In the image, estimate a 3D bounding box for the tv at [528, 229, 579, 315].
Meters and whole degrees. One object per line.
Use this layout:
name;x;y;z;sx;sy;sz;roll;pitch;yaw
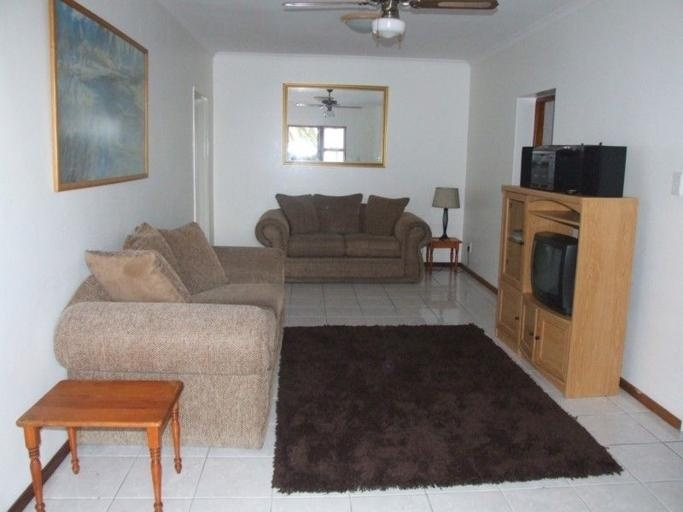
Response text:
tv;1.717;0.157;4.084;0.304;0.563;0.574;-1;6;-2

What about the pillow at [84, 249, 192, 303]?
pillow;-1.256;0.133;3.141;0.402;0.209;0.422;25;-14;8

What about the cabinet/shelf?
cabinet/shelf;1.726;0.292;3.896;0.540;1.695;1.380;-1;8;-6

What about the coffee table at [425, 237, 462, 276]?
coffee table;1.400;-0.021;7.182;0.481;0.492;0.502;1;7;4

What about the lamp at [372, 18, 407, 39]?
lamp;0.306;-1.509;3.436;0.207;0.120;0.217;1;14;1

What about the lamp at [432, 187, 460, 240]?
lamp;1.435;-0.596;7.200;0.344;0.711;0.592;3;15;10

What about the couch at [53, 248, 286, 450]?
couch;-0.965;0.336;3.194;0.918;0.682;1.412;1;13;-5

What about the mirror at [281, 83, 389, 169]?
mirror;-0.144;-1.881;7.311;1.104;0.895;0.050;0;12;-5

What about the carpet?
carpet;0.538;0.972;3.909;2.028;0.094;2.179;-1;15;-6
